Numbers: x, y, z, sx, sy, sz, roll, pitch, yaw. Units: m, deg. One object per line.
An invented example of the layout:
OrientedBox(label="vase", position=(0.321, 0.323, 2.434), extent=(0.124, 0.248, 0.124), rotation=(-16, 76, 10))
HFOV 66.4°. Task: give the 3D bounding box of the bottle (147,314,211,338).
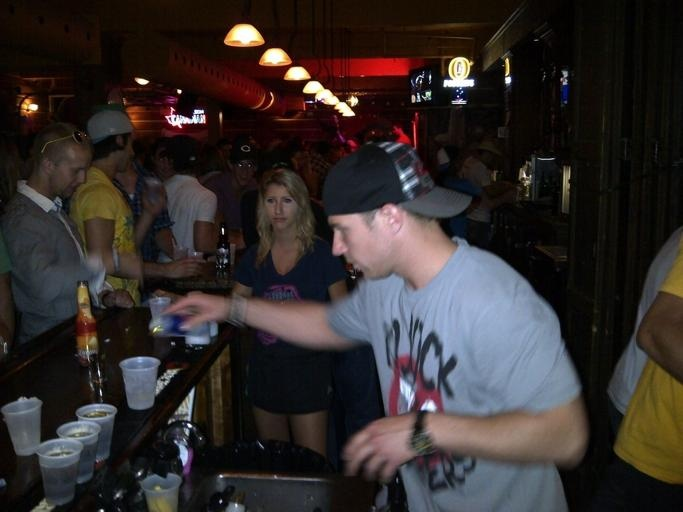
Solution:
OrientedBox(label="bottle", position=(-0.720, 0.312, 2.342), extent=(0.060, 0.060, 0.159), rotation=(-15, -3, 23))

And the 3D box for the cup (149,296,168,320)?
OrientedBox(label="cup", position=(-0.914, 0.256, 2.623), extent=(0.102, 0.122, 0.104), rotation=(11, 6, -1))

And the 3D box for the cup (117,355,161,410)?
OrientedBox(label="cup", position=(-0.771, 0.477, 2.088), extent=(0.169, 0.196, 0.180), rotation=(4, 5, 0))

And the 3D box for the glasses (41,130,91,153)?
OrientedBox(label="glasses", position=(-1.601, -0.677, 3.017), extent=(0.162, 0.054, 0.161), rotation=(-21, 17, -6))

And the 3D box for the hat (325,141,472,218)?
OrientedBox(label="hat", position=(0.159, -0.245, 1.627), extent=(0.379, 0.213, 0.249), rotation=(-7, 14, 4))
